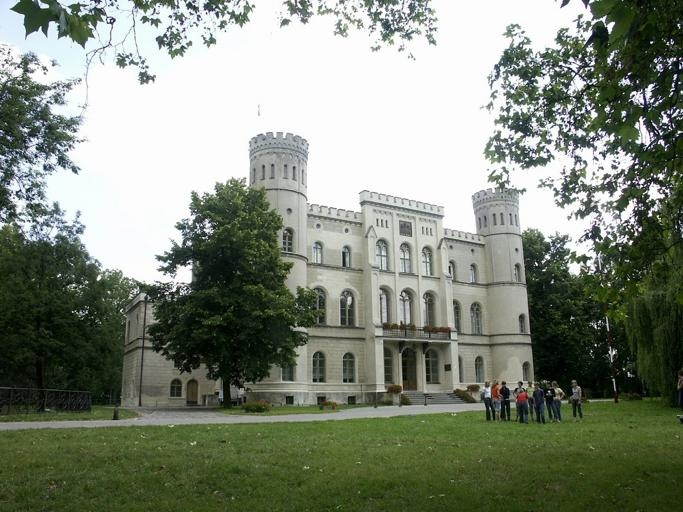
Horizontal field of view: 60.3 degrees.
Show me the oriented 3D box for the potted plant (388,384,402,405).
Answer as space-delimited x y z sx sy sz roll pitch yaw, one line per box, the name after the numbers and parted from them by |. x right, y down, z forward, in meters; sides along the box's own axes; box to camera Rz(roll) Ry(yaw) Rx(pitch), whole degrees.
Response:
3.786 9.771 41.253 0.933 1.259 1.978 1 -9 -5 | potted plant

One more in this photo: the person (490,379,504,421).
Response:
6.384 5.950 24.243 0.402 1.531 0.957 -2 -9 14 | person
